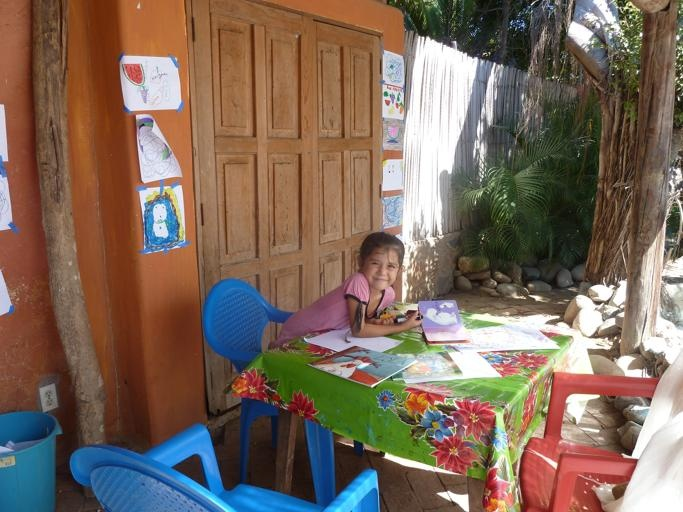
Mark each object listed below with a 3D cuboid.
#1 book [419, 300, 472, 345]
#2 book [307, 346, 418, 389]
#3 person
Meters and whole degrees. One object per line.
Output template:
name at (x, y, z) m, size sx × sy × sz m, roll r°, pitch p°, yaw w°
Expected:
book at (0.559, 0.370, 2.785) m, size 0.355 × 0.071 × 0.512 m, roll -1°, pitch 17°, yaw -1°
book at (0.110, 0.503, 2.407) m, size 0.417 × 0.029 × 0.370 m, roll 9°, pitch 14°, yaw 35°
person at (0.050, 0.188, 2.901) m, size 0.796 × 0.655 × 0.484 m, roll 2°, pitch 11°, yaw 10°
